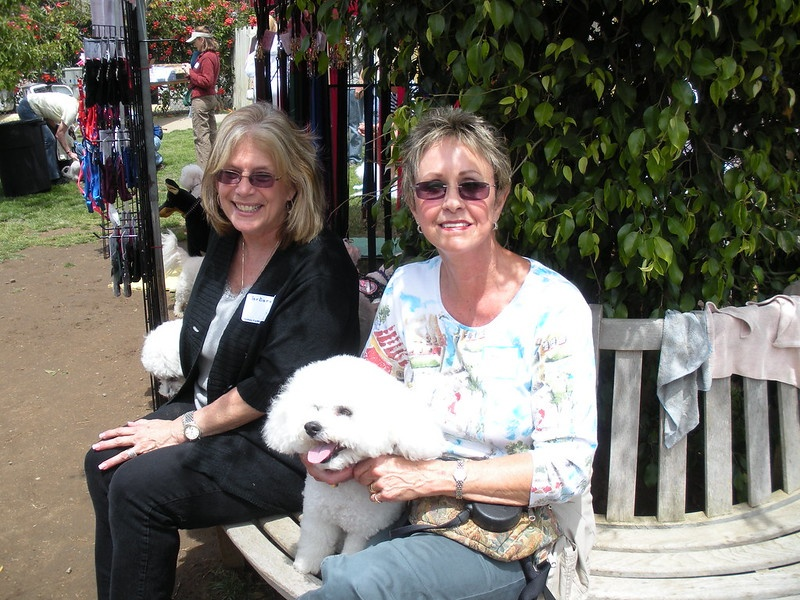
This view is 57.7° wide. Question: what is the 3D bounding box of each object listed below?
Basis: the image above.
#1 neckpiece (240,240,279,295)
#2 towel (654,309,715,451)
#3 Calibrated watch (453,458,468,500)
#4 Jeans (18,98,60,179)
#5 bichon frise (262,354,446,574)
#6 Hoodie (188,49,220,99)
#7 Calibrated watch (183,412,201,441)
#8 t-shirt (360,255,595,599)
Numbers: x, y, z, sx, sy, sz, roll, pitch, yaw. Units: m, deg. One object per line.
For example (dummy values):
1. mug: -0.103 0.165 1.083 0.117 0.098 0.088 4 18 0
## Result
1. neckpiece: -0.693 -0.171 3.561 0.179 0.271 0.060 19 12 41
2. towel: 1.212 0.325 3.099 0.194 0.633 0.145 0 -32 20
3. Calibrated watch: 0.219 0.645 2.649 0.046 0.128 0.100 -1 -7 13
4. Jeans: -6.859 -3.060 13.873 0.554 1.585 1.617 -4 10 -19
5. bichon frise: -0.147 0.613 2.751 0.492 0.642 0.361 24 33 17
6. Hoodie: -2.953 -3.366 10.886 0.396 0.756 0.736 6 9 -18
7. Calibrated watch: -0.925 0.553 3.234 0.072 0.133 0.111 -8 8 -12
8. t-shirt: 0.306 0.511 2.713 0.963 1.378 0.727 7 12 36
